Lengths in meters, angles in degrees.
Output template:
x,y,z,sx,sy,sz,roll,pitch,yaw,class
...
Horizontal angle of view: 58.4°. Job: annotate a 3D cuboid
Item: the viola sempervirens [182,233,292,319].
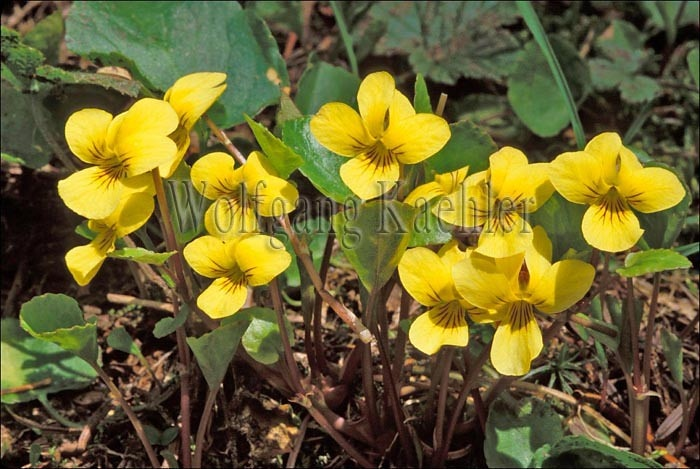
x,y,z,sx,sy,sz,roll,pitch,yaw,class
-0.235,0.078,1.333,0.207,0.147,0.116,-12,22,-16,viola sempervirens
